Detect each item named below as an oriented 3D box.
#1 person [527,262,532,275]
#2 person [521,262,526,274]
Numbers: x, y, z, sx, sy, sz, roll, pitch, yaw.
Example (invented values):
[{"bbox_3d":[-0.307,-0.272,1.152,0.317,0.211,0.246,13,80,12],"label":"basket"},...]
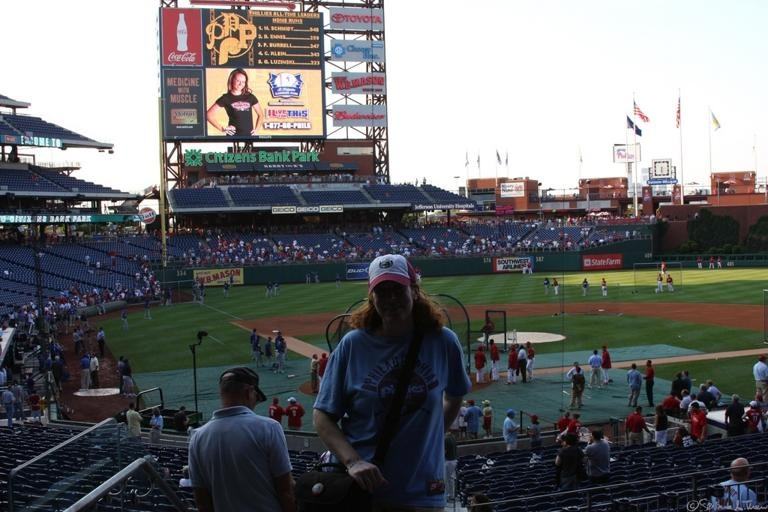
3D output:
[{"bbox_3d":[12.501,0.987,86.489,0.419,0.962,1.096,-2,-2,7],"label":"person"},{"bbox_3d":[12.020,1.047,86.458,0.468,0.832,0.684,-2,-2,7],"label":"person"}]
